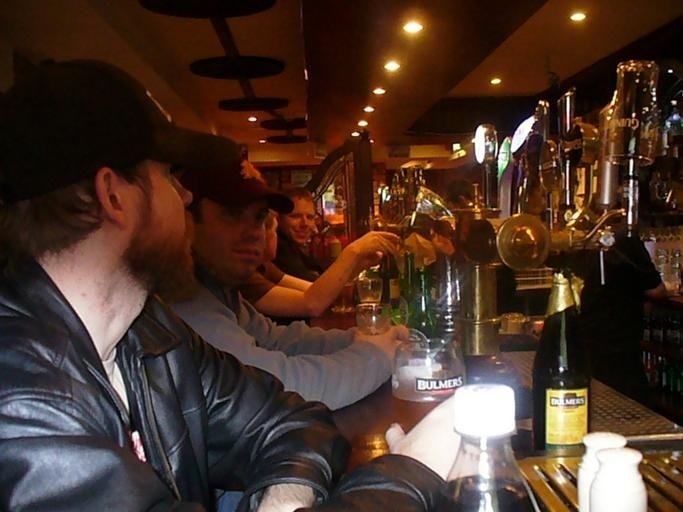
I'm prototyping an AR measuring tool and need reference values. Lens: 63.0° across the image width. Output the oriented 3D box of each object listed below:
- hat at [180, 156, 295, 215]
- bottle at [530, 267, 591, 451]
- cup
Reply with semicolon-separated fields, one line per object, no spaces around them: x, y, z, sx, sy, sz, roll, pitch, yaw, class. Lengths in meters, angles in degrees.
-0.349;-0.254;2.054;0.276;0.142;0.430;-1;0;-14;hat
0.412;0.197;1.049;0.098;0.332;0.069;0;-3;19;bottle
0.575;-0.275;1.098;0.084;0.196;0.168;-1;-3;30;cup
